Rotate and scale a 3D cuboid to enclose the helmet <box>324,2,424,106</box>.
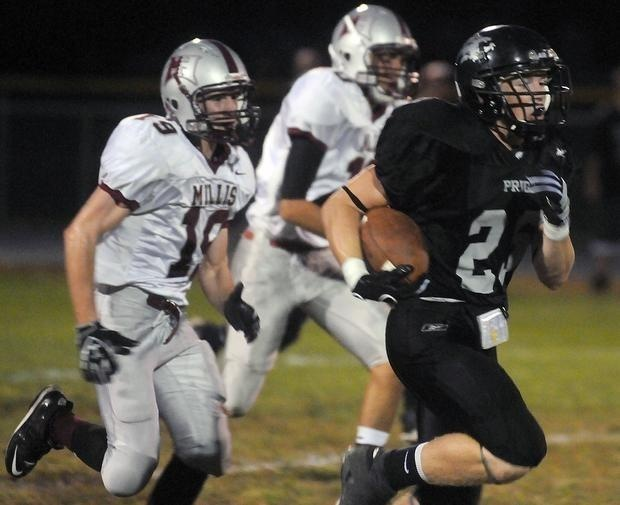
[{"bbox_3d":[0.390,-0.948,4.792,0.582,0.423,0.438,11,14,29],"label":"helmet"}]

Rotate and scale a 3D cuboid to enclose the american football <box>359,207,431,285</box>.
[{"bbox_3d":[0.291,-0.032,3.656,0.219,0.176,0.280,28,27,-54],"label":"american football"}]

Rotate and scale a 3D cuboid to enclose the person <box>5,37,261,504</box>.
[{"bbox_3d":[-0.676,0.058,3.895,1.020,1.754,0.533,-3,12,-13],"label":"person"}]

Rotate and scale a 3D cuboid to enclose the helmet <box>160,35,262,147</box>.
[{"bbox_3d":[-0.396,-0.624,3.890,0.498,0.368,0.372,20,25,31],"label":"helmet"}]

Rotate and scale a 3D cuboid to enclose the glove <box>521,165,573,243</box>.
[{"bbox_3d":[0.852,-0.179,3.714,0.122,0.248,0.188,-2,40,-3],"label":"glove"}]

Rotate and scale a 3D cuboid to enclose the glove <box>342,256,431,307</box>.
[{"bbox_3d":[0.266,0.105,3.573,0.180,0.068,0.231,-4,9,-39],"label":"glove"}]

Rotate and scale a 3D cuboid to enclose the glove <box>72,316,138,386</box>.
[{"bbox_3d":[-0.792,0.369,3.701,0.204,0.167,0.244,27,-5,0],"label":"glove"}]

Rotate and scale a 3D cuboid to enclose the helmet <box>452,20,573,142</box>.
[{"bbox_3d":[0.891,-0.645,3.864,0.535,0.426,0.424,8,13,38],"label":"helmet"}]
